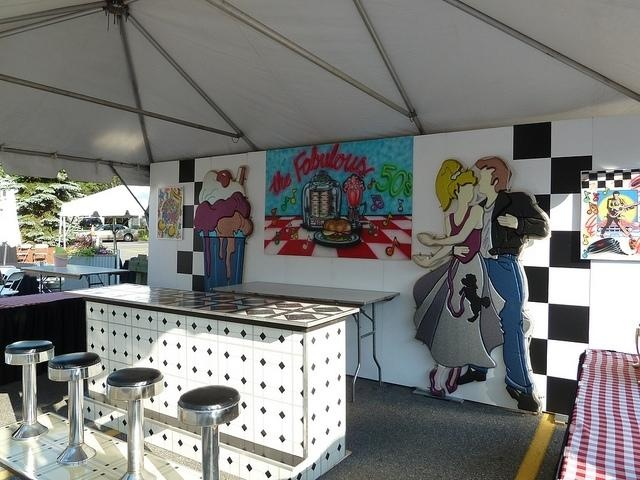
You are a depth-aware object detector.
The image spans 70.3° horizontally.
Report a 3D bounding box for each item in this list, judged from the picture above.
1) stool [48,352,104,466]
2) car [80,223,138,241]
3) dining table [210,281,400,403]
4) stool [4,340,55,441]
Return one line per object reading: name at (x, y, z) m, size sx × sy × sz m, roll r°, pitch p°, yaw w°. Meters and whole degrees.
stool at (-1.943, 1.273, 3.572) m, size 0.345 × 0.800 × 0.461 m, roll -4°, pitch 8°, yaw -42°
car at (-9.390, -0.370, 19.954) m, size 1.854 × 0.671 × 0.815 m, roll 2°, pitch -1°, yaw -15°
dining table at (-0.091, 1.061, 5.262) m, size 1.807 × 1.124 × 0.919 m, roll 5°, pitch 7°, yaw 27°
stool at (-2.542, 1.204, 3.967) m, size 0.321 × 0.768 × 0.683 m, roll -3°, pitch 8°, yaw -35°
